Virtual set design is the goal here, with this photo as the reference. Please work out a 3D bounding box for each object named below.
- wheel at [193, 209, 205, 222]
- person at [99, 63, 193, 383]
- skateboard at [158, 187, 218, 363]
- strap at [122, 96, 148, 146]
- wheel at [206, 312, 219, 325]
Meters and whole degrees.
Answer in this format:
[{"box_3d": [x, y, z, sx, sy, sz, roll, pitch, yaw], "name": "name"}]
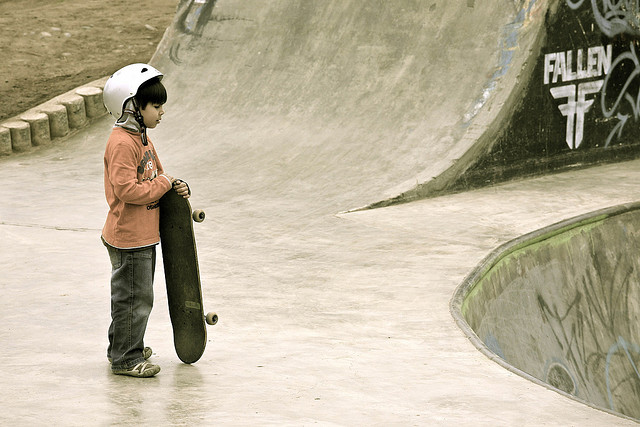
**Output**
[{"box_3d": [-1.067, 0.027, 10.451, 0.088, 0.102, 0.090, 7, 12, -1], "name": "wheel"}, {"box_3d": [-1.556, 0.078, 10.400, 0.567, 2.670, 0.925, 2, 15, -28], "name": "person"}, {"box_3d": [-1.114, 0.526, 10.579, 0.528, 1.471, 0.277, 2, 15, 35], "name": "skateboard"}, {"box_3d": [-1.595, -0.792, 10.388, 0.245, 0.422, 0.056, 7, 14, -6], "name": "strap"}, {"box_3d": [-0.947, 0.913, 10.462, 0.125, 0.093, 0.107, 10, 11, 33], "name": "wheel"}]
